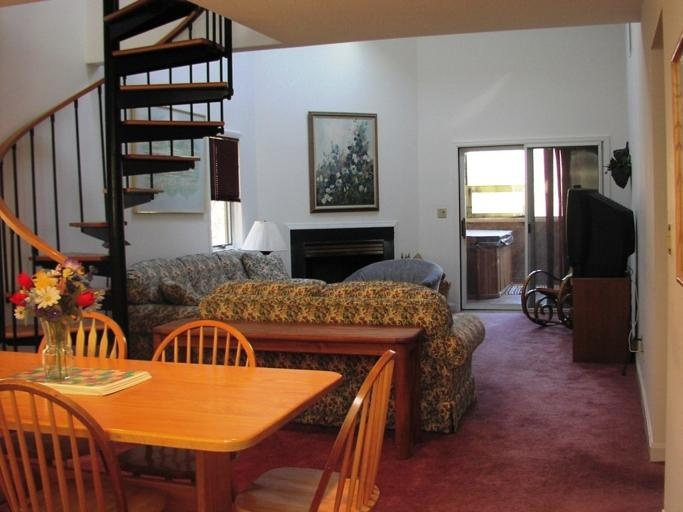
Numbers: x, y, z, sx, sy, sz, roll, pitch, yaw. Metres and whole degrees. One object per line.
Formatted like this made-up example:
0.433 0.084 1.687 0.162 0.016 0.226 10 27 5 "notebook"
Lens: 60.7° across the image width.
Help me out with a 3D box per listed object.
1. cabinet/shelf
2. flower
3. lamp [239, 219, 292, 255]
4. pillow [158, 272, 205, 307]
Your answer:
2.498 0.611 5.597 0.517 0.829 0.187 1 5 24 "cabinet/shelf"
-1.288 0.269 2.673 0.462 0.577 0.470 0 7 -1 "flower"
-0.996 -0.215 7.501 0.458 0.482 0.471 -1 -1 -5 "lamp"
-1.541 0.263 5.484 0.325 0.127 0.330 16 -6 25 "pillow"
